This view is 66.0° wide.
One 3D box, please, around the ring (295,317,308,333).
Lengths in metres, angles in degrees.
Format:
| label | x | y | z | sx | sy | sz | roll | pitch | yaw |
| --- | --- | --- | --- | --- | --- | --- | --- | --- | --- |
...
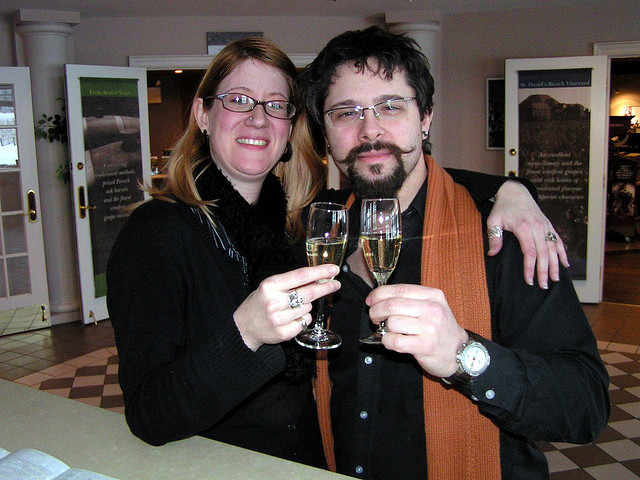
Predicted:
| label | x | y | z | sx | sy | sz | roll | pitch | yaw |
| --- | --- | --- | --- | --- | --- | --- | --- | --- | --- |
| ring | -0.051 | 0.239 | 1.374 | 0.031 | 0.057 | 0.076 | -1 | 13 | 1 |

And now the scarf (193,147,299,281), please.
| label | x | y | z | sx | sy | sz | roll | pitch | yaw |
| --- | --- | --- | --- | --- | --- | --- | --- | --- | --- |
| scarf | -0.246 | -0.095 | 1.885 | 0.384 | 0.382 | 0.424 | -9 | 15 | -32 |

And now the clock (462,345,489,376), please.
| label | x | y | z | sx | sy | sz | roll | pitch | yaw |
| --- | --- | --- | --- | --- | --- | --- | --- | --- | --- |
| clock | 0.437 | 0.337 | 1.391 | 0.075 | 0.076 | 0.022 | 0 | -1 | -17 |

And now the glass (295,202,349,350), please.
| label | x | y | z | sx | sy | sz | roll | pitch | yaw |
| --- | --- | --- | --- | --- | --- | --- | --- | --- | --- |
| glass | 0.005 | 0.140 | 1.498 | 0.163 | 0.489 | 0.381 | -1 | 13 | -2 |

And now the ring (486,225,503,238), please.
| label | x | y | z | sx | sy | sz | roll | pitch | yaw |
| --- | --- | --- | --- | --- | --- | --- | --- | --- | --- |
| ring | 0.602 | -0.025 | 1.682 | 0.033 | 0.039 | 0.014 | -13 | -17 | 26 |

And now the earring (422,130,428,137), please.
| label | x | y | z | sx | sy | sz | roll | pitch | yaw |
| --- | --- | --- | --- | --- | --- | --- | --- | --- | --- |
| earring | 0.427 | -0.431 | 1.995 | 0.019 | 0.027 | 0.024 | -1 | -13 | -4 |

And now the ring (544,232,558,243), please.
| label | x | y | z | sx | sy | sz | roll | pitch | yaw |
| --- | --- | --- | --- | --- | --- | --- | --- | --- | --- |
| ring | 0.756 | -0.008 | 1.617 | 0.043 | 0.028 | 0.034 | 2 | 13 | 13 |

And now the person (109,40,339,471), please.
| label | x | y | z | sx | sy | sz | roll | pitch | yaw |
| --- | --- | --- | --- | --- | --- | --- | --- | --- | --- |
| person | -0.323 | -0.127 | 1.727 | 0.670 | 1.168 | 1.051 | -1 | 13 | 0 |

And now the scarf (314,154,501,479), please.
| label | x | y | z | sx | sy | sz | roll | pitch | yaw |
| --- | --- | --- | --- | --- | --- | --- | --- | --- | --- |
| scarf | 0.506 | 0.271 | 1.827 | 0.555 | 1.034 | 0.183 | -6 | -8 | 19 |

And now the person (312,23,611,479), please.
| label | x | y | z | sx | sy | sz | roll | pitch | yaw |
| --- | --- | --- | --- | --- | --- | --- | --- | --- | --- |
| person | 0.414 | 0.027 | 1.747 | 0.883 | 1.596 | 0.881 | -4 | 13 | -12 |

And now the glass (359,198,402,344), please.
| label | x | y | z | sx | sy | sz | roll | pitch | yaw |
| --- | --- | --- | --- | --- | --- | --- | --- | --- | --- |
| glass | 0.186 | 0.015 | 1.515 | 0.117 | 0.283 | 0.087 | -3 | 13 | -8 |

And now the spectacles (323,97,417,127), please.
| label | x | y | z | sx | sy | sz | roll | pitch | yaw |
| --- | --- | --- | --- | --- | --- | --- | --- | --- | --- |
| spectacles | 0.182 | -0.480 | 1.858 | 0.314 | 0.102 | 0.076 | 2 | 13 | 12 |

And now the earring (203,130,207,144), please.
| label | x | y | z | sx | sy | sz | roll | pitch | yaw |
| --- | --- | --- | --- | --- | --- | --- | --- | --- | --- |
| earring | -0.459 | -0.412 | 1.981 | 0.012 | 0.059 | 0.016 | 3 | 21 | -4 |

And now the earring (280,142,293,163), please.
| label | x | y | z | sx | sy | sz | roll | pitch | yaw |
| --- | --- | --- | --- | --- | --- | --- | --- | --- | --- |
| earring | -0.143 | -0.388 | 2.177 | 0.022 | 0.073 | 0.072 | 10 | -11 | -26 |
